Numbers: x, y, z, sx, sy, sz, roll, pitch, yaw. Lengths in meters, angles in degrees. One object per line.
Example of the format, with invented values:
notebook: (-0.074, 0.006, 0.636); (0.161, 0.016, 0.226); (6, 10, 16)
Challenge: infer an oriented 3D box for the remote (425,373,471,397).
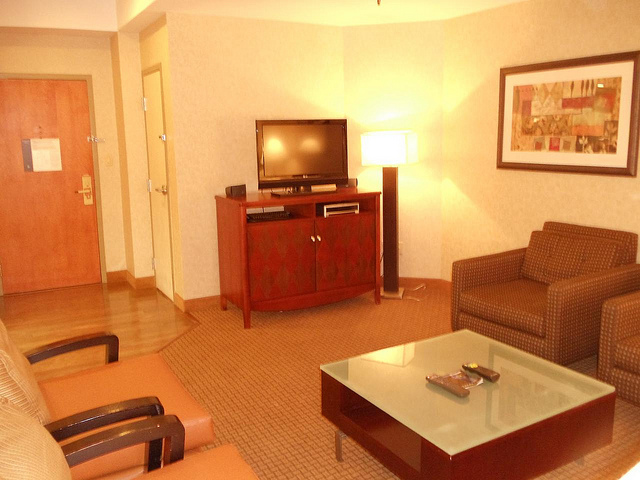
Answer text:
remote: (0.749, 0.833, 2.794); (0.117, 0.056, 0.250); (-13, 15, -42)

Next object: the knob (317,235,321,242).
knob: (-0.011, -0.016, 4.810); (0.039, 0.056, 0.012); (-9, 8, -34)

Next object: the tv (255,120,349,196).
tv: (-0.169, -0.846, 5.068); (0.955, 0.803, 0.252); (-5, 14, -13)

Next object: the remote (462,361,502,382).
remote: (0.970, 0.775, 2.901); (0.090, 0.043, 0.172); (-3, 13, -32)

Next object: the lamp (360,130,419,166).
lamp: (0.782, -0.932, 5.113); (0.486, 0.327, 0.352); (2, 6, 30)

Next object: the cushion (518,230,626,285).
cushion: (2.087, 0.200, 4.114); (0.423, 0.445, 0.950); (-10, 8, -27)

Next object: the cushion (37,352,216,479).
cushion: (-1.121, 0.952, 2.667); (0.572, 0.176, 0.605); (-3, 20, -29)

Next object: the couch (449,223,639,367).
couch: (1.888, 0.490, 4.067); (1.269, 1.056, 1.146); (-9, 11, -30)
